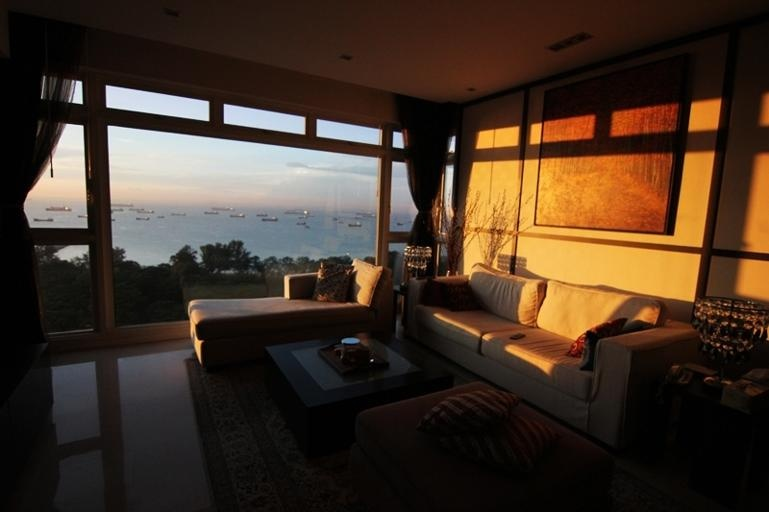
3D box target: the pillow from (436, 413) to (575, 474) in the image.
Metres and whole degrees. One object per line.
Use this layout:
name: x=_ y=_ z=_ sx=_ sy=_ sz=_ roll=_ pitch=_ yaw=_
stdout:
pillow: x=0.918 y=1.352 z=3.449 sx=0.504 sy=0.146 sz=0.497 roll=2 pitch=10 yaw=39

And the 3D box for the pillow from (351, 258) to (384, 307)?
pillow: x=-0.248 y=0.344 z=6.066 sx=0.207 sy=0.497 sz=0.487 roll=10 pitch=9 yaw=-38

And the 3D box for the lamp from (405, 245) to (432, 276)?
lamp: x=0.463 y=0.069 z=6.871 sx=0.435 sy=0.456 sz=0.422 roll=0 pitch=12 yaw=-8

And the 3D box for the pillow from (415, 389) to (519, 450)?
pillow: x=0.601 y=1.173 z=3.505 sx=0.547 sy=0.160 sz=0.388 roll=-16 pitch=21 yaw=-2

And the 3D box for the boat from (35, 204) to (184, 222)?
boat: x=-3.296 y=-0.504 z=5.691 sx=1.512 sy=0.236 sz=0.113 roll=-2 pitch=9 yaw=-29
